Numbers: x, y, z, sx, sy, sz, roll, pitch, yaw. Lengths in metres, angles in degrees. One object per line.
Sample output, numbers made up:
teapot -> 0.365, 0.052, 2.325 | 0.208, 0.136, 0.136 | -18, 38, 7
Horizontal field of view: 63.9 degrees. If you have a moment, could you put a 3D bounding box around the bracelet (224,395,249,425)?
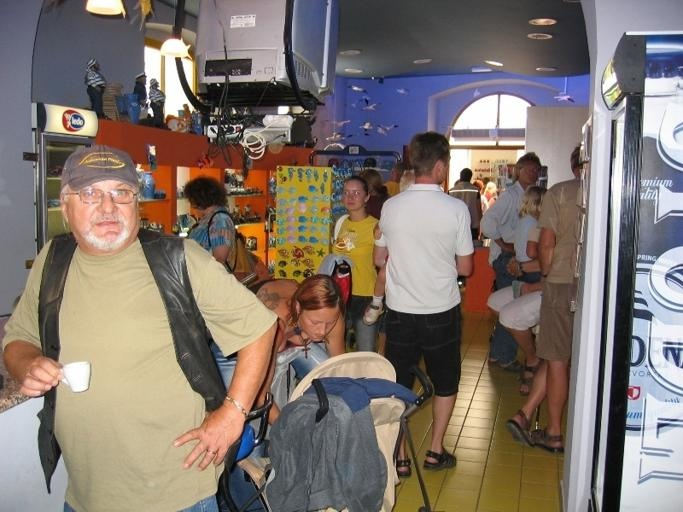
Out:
bracelet -> -0.376, 0.540, 1.967 | 0.032, 0.086, 0.075 | -40, -10, -25

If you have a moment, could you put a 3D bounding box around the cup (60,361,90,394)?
cup -> -0.934, 0.422, 1.903 | 0.075, 0.085, 0.115 | 0, -5, -16

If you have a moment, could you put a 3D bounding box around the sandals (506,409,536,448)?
sandals -> 1.384, 1.307, 4.190 | 0.134, 0.292, 0.170 | -20, 23, 49

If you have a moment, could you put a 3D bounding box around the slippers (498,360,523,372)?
slippers -> 1.748, 1.128, 5.675 | 0.198, 0.086, 0.101 | -4, 1, 28

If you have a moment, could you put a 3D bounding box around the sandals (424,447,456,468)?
sandals -> 0.695, 1.427, 3.917 | 0.250, 0.142, 0.109 | -2, 2, -38

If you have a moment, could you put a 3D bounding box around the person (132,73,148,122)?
person -> -2.243, -1.754, 6.024 | 0.127, 0.530, 0.729 | -3, 11, -18

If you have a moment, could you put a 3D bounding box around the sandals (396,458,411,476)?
sandals -> 0.422, 1.440, 3.739 | 0.104, 0.084, 0.281 | -1, -9, 3

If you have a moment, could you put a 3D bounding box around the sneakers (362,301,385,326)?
sneakers -> 0.232, 0.423, 4.126 | 0.092, 0.085, 0.202 | 3, 20, 21

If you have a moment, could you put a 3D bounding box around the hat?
hat -> -0.913, -0.302, 2.149 | 0.250, 0.184, 0.382 | 5, 3, -28

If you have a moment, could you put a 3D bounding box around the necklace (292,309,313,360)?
necklace -> -0.234, 0.437, 3.072 | 0.085, 0.259, 0.065 | -6, 12, 5
